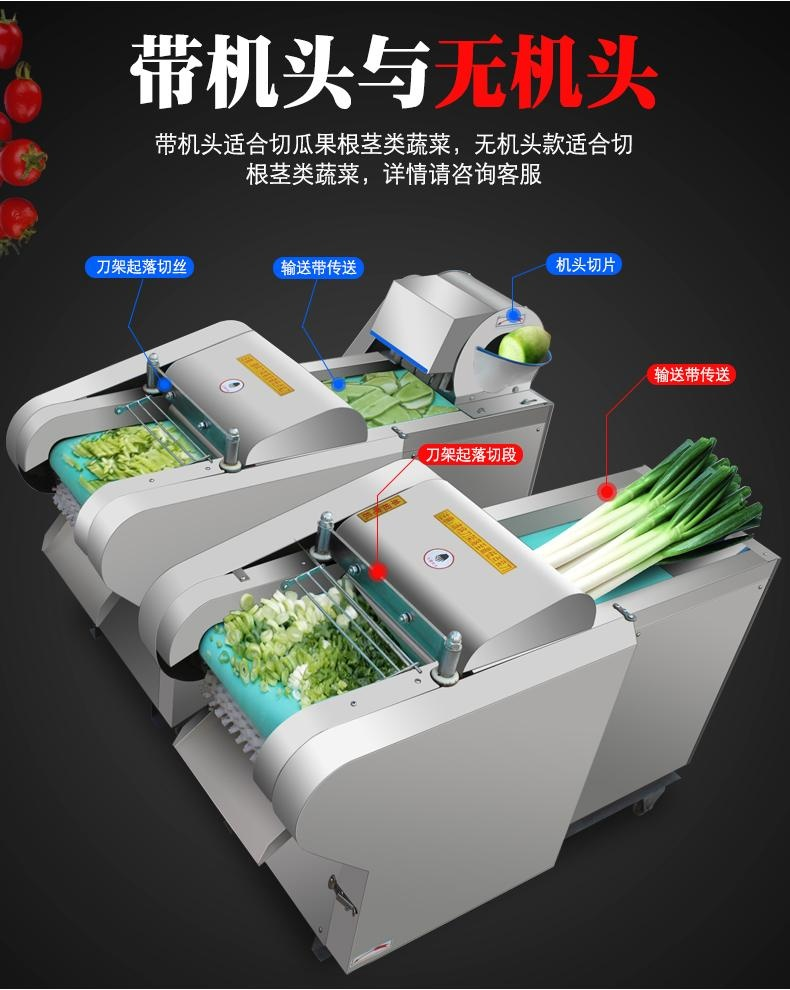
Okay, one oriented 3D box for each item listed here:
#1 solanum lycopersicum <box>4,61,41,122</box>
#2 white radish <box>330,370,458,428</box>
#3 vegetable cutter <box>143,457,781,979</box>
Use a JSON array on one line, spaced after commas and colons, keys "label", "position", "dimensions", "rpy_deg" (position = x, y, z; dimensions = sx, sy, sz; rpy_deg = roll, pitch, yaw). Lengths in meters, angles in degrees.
[{"label": "solanum lycopersicum", "position": [-1.595, -1.711, 3.324], "dimensions": [0.166, 0.223, 0.126], "rpy_deg": [10, 31, 12]}, {"label": "white radish", "position": [-0.003, -0.377, 3.059], "dimensions": [0.318, 0.046, 0.327], "rpy_deg": [-14, 37, -23]}, {"label": "vegetable cutter", "position": [0.113, 0.452, 1.950], "dimensions": [1.217, 0.740, 0.589], "rpy_deg": [-18, 45, -24]}]
